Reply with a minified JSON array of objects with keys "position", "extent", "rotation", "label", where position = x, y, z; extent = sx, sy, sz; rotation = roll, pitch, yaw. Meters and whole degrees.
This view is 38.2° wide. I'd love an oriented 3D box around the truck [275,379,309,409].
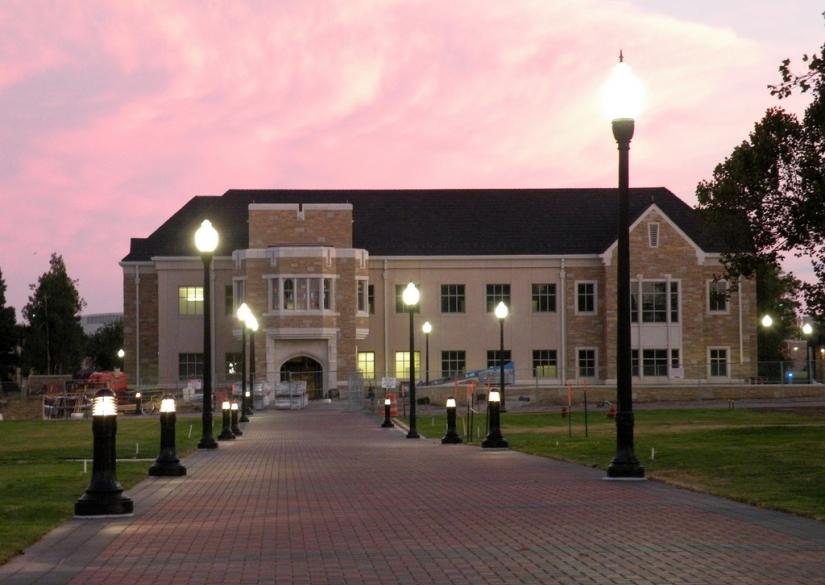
[{"position":[-5.756,4.914,57.672],"extent":[1.299,1.272,2.424],"rotation":[-1,-2,28],"label":"truck"}]
